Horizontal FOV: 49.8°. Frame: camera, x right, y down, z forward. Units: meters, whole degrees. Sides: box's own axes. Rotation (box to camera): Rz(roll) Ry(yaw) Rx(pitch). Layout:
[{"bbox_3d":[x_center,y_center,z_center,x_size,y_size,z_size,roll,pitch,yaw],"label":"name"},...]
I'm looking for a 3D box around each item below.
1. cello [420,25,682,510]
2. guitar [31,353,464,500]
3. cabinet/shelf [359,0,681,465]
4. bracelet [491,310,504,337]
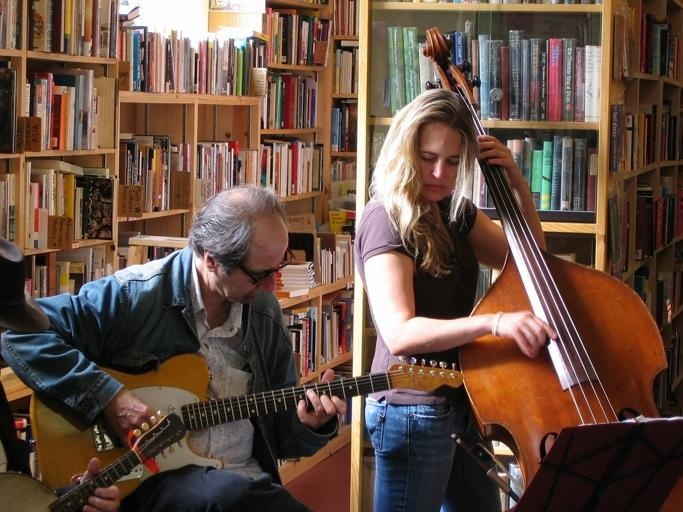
[{"bbox_3d":[0.621,0.106,2.149,0.377,1.216,0.218,-19,-17,9],"label":"cello"},{"bbox_3d":[-0.159,0.550,2.451,1.117,0.521,0.129,-11,-26,37],"label":"guitar"},{"bbox_3d":[0.481,0.113,2.260,0.667,1.537,0.424,-3,-9,-15],"label":"cabinet/shelf"},{"bbox_3d":[0.455,0.199,2.163,0.012,0.058,0.041,8,-19,17],"label":"bracelet"}]
